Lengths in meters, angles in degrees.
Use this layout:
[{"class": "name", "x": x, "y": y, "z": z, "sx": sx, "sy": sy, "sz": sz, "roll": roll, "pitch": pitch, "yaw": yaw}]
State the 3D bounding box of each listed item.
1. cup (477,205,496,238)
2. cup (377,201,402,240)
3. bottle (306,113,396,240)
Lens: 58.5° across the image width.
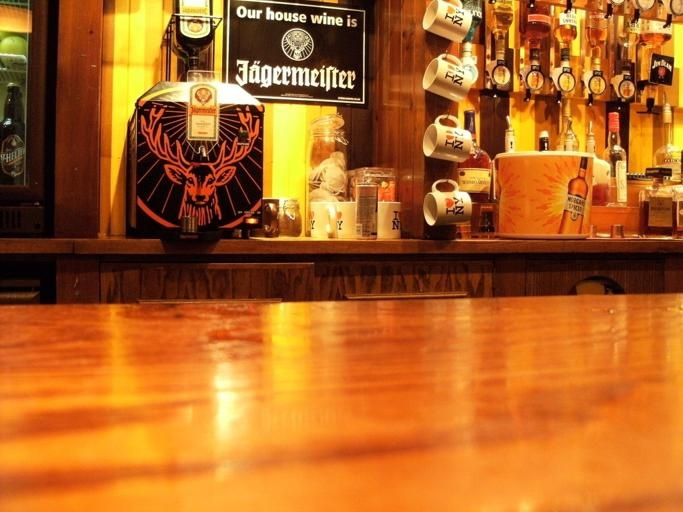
[{"class": "cup", "x": 0.620, "y": -0.159, "z": 2.575, "sx": 0.072, "sy": 0.120, "sz": 0.098, "roll": 1, "pitch": 3, "yaw": 5}, {"class": "cup", "x": 0.172, "y": -0.129, "z": 2.198, "sx": 0.104, "sy": 0.137, "sz": 0.114, "roll": 2, "pitch": 1, "yaw": 0}, {"class": "bottle", "x": 0.043, "y": -0.324, "z": 2.350, "sx": 0.340, "sy": 0.491, "sz": 0.616, "roll": 0, "pitch": 4, "yaw": -4}]
